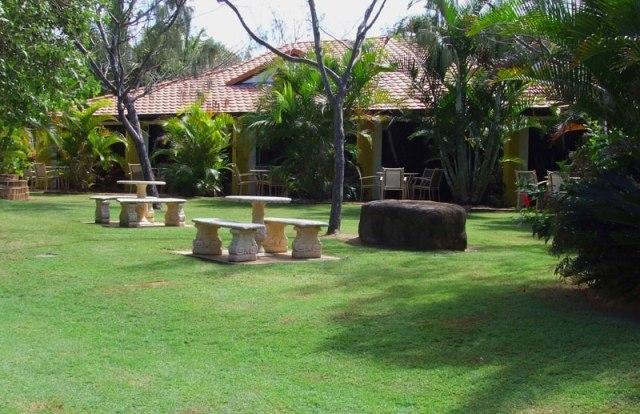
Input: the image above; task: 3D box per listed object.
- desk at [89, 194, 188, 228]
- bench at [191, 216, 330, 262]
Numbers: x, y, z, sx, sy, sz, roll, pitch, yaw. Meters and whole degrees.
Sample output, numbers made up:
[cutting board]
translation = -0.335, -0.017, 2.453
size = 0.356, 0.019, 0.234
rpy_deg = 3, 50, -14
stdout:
[desk]
translation = -4.020, 0.088, 11.465
size = 1.836, 0.744, 1.291
rpy_deg = -7, 13, -26
[bench]
translation = -0.969, 0.505, 8.065
size = 1.922, 0.712, 0.990
rpy_deg = -6, 12, -22
